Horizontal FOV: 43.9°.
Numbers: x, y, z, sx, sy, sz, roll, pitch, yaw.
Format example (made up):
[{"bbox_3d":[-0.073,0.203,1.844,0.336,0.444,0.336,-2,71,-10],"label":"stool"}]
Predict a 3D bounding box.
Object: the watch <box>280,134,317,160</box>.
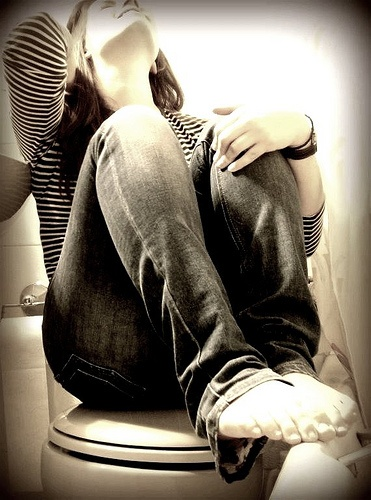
[{"bbox_3d":[0.156,-0.139,0.619,0.037,0.024,0.032,1,21,8],"label":"watch"}]
